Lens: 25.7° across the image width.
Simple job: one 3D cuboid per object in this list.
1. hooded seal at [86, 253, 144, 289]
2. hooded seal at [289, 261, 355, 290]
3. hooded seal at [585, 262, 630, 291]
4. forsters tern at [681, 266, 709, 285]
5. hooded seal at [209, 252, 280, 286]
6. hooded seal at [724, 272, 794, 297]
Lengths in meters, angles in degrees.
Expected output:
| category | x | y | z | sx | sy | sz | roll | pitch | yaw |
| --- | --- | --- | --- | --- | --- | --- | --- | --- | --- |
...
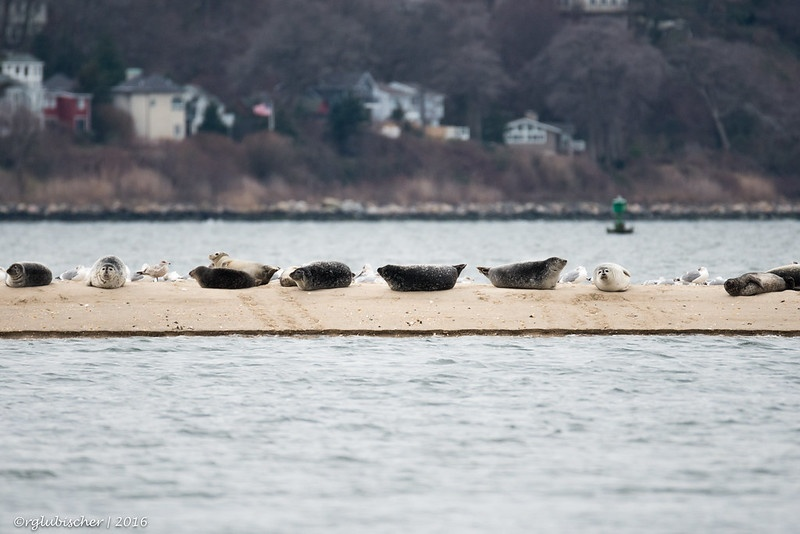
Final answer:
| category | x | y | z | sx | sy | sz | roll | pitch | yaw |
| --- | --- | --- | --- | --- | --- | --- | --- | --- | --- |
| hooded seal | -8.641 | 0.085 | 51.391 | 1.157 | 0.826 | 1.324 | 1 | 9 | -8 |
| hooded seal | -2.349 | 0.230 | 51.496 | 1.979 | 0.781 | 0.658 | -4 | 12 | -35 |
| hooded seal | 6.219 | 0.278 | 51.297 | 1.014 | 0.758 | 0.708 | 1 | 10 | -11 |
| forsters tern | 9.255 | 0.257 | 55.093 | 0.934 | 0.502 | 0.585 | -2 | 3 | 19 |
| hooded seal | -4.801 | 0.141 | 53.290 | 2.829 | 0.921 | 0.739 | 10 | 1 | 34 |
| hooded seal | 10.379 | 0.482 | 50.802 | 1.954 | 0.565 | 0.717 | -3 | 10 | -29 |
